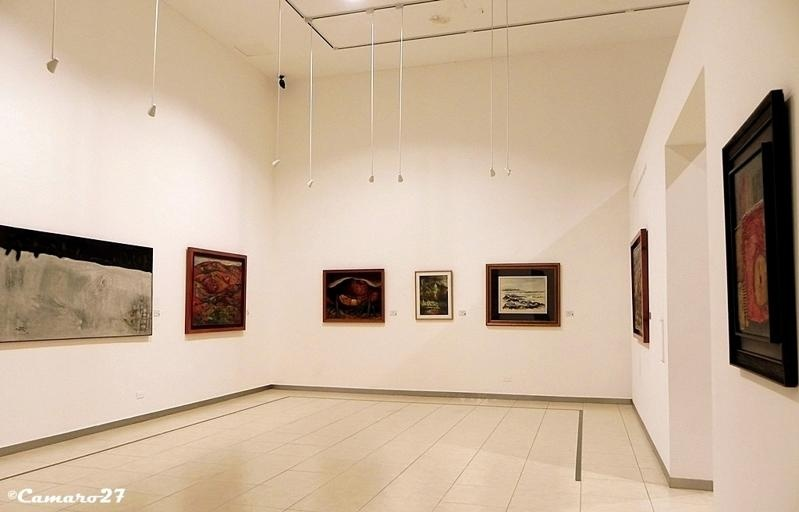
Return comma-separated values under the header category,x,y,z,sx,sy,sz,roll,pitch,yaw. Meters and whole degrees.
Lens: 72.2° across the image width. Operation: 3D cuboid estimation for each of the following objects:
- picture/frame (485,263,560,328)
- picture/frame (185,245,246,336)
category,x,y,z,sx,sy,sz,roll,pitch,yaw
picture/frame,3.860,1.214,17.182,2.226,1.961,0.172,0,4,9
picture/frame,-5.408,1.049,16.666,2.766,2.467,0.189,3,-3,34
